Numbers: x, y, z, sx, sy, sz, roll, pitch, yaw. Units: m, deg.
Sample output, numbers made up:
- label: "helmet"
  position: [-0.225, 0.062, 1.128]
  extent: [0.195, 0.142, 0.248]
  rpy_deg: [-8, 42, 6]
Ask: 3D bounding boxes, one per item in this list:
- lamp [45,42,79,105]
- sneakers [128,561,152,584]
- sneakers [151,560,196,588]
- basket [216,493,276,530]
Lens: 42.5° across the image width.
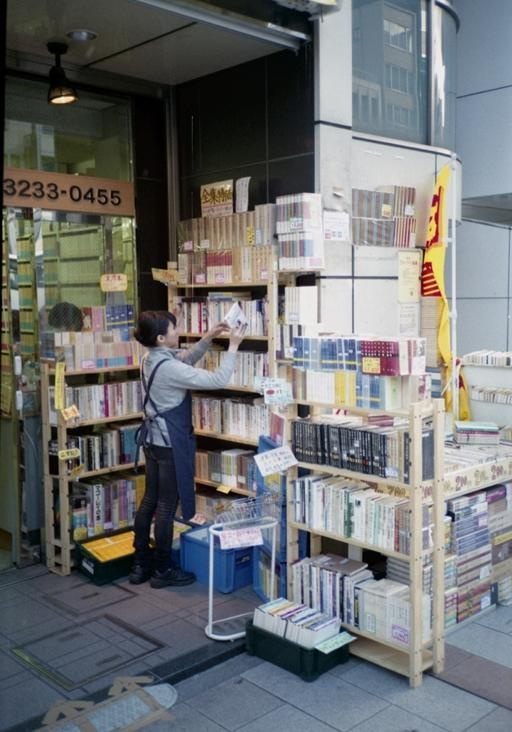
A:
- label: "lamp"
  position: [-1.338, -1.988, 4.509]
  extent: [0.200, 0.321, 0.531]
  rpy_deg: [-2, 4, -15]
- label: "sneakers"
  position: [-0.743, 1.356, 4.269]
  extent: [0.081, 0.122, 0.171]
  rpy_deg: [0, -8, 14]
- label: "sneakers"
  position: [-0.528, 1.345, 4.201]
  extent: [0.284, 0.150, 0.116]
  rpy_deg: [-3, 1, -14]
- label: "basket"
  position: [-0.050, 0.814, 3.654]
  extent: [0.237, 0.085, 0.181]
  rpy_deg: [-3, -1, -24]
